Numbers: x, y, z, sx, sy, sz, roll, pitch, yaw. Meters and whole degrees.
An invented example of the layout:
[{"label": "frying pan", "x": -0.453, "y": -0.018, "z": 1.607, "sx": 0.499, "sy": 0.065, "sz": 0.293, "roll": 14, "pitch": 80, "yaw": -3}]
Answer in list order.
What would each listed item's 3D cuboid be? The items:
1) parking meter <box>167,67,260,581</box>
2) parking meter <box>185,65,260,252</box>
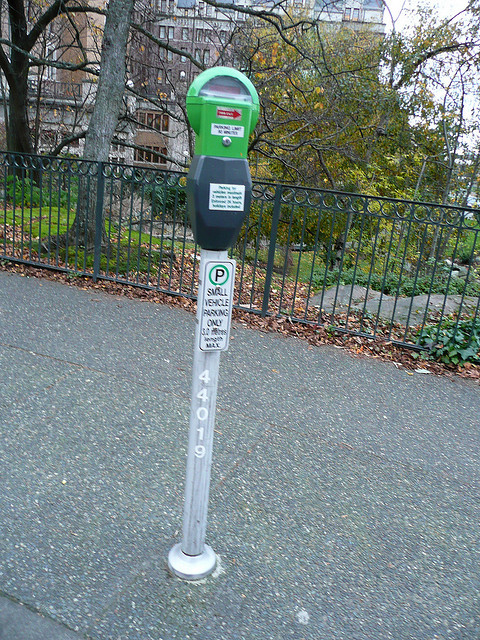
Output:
[{"label": "parking meter", "x": -0.124, "y": 0.081, "z": 1.990, "sx": 0.300, "sy": 1.802, "sz": 0.208, "roll": 7, "pitch": 13, "yaw": -4}, {"label": "parking meter", "x": -0.072, "y": -0.501, "z": 1.814, "sx": 0.231, "sy": 0.567, "sz": 0.114, "roll": 6, "pitch": 13, "yaw": -8}]
